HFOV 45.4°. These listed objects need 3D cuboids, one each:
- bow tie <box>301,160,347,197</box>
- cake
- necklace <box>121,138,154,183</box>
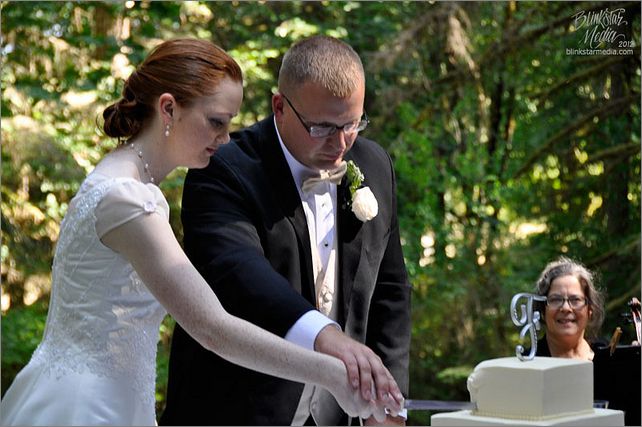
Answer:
[{"bbox_3d":[0.024,-0.249,5.570,0.381,0.065,0.206,-18,-49,-29],"label":"bow tie"},{"bbox_3d":[1.390,0.889,5.159,0.758,0.967,0.769,-2,-5,36],"label":"cake"},{"bbox_3d":[-1.157,-0.333,4.853,0.126,0.308,0.036,-36,6,4],"label":"necklace"}]
